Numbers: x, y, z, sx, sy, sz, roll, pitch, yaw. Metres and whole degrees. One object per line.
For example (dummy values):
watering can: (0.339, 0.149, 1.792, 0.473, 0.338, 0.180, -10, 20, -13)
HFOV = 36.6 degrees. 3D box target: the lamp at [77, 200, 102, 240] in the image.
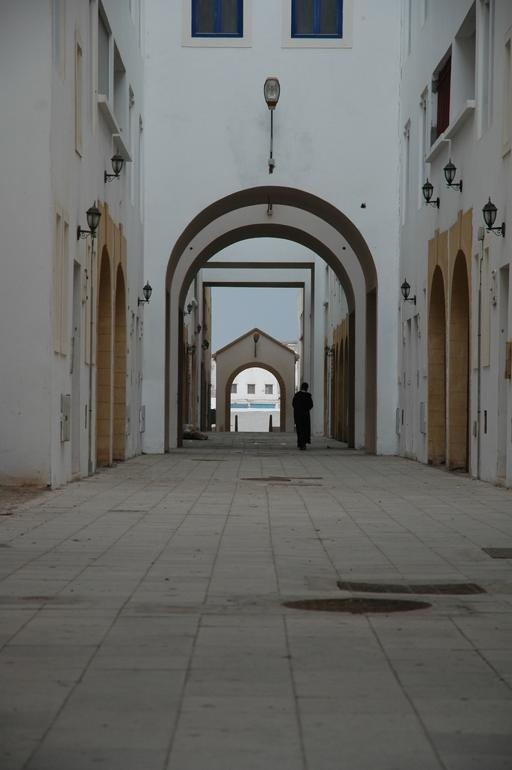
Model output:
lamp: (-2.774, -2.714, 12.867, 0.343, 0.800, 1.274, 0, -1, -12)

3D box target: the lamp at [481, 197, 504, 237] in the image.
lamp: (3.570, -2.510, 11.667, 0.305, 0.663, 0.898, -1, -1, 19)

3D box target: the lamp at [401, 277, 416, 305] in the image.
lamp: (3.630, -2.261, 18.755, 0.299, 0.795, 1.338, 0, -1, 8)

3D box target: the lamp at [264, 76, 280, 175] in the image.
lamp: (0.393, -6.767, 20.201, 0.448, 2.277, 0.750, 0, -1, 6)
